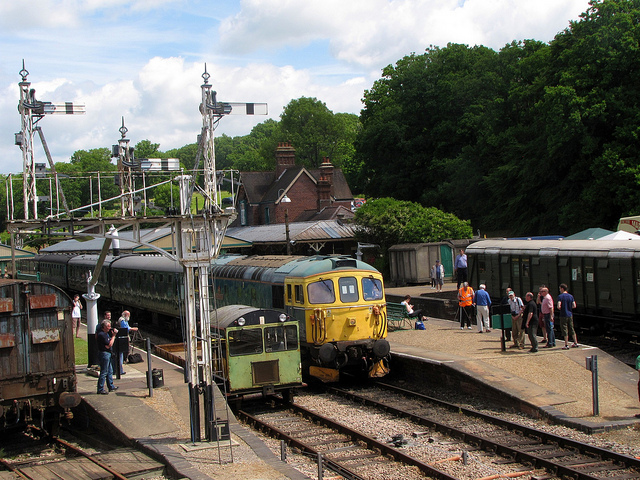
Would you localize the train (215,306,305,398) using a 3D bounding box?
[{"bbox_3d":[-2.706,4.040,24.801,2.870,2.782,5.560,-2,-11,-22],"label":"train"}]

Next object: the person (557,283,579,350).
[{"bbox_3d":[8.255,2.543,25.635,0.566,1.645,1.298,-5,-3,18],"label":"person"}]

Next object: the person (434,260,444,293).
[{"bbox_3d":[5.940,1.857,38.573,0.428,1.047,1.667,-5,-3,8],"label":"person"}]

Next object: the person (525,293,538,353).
[{"bbox_3d":[6.874,2.687,24.887,0.407,1.408,1.002,-5,-3,16],"label":"person"}]

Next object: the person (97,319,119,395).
[{"bbox_3d":[-6.218,3.428,22.348,0.514,2.113,0.526,-7,-4,43],"label":"person"}]

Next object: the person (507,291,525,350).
[{"bbox_3d":[6.560,2.685,25.703,0.538,1.399,0.832,-5,-3,14],"label":"person"}]

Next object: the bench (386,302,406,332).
[{"bbox_3d":[3.082,3.144,31.235,0.526,0.932,1.430,-3,-6,-20],"label":"bench"}]

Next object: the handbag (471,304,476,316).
[{"bbox_3d":[6.209,2.851,31.088,0.113,0.468,0.469,5,-4,-6],"label":"handbag"}]

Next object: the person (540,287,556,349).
[{"bbox_3d":[7.526,2.585,25.400,0.394,1.492,0.799,-5,-3,16],"label":"person"}]
